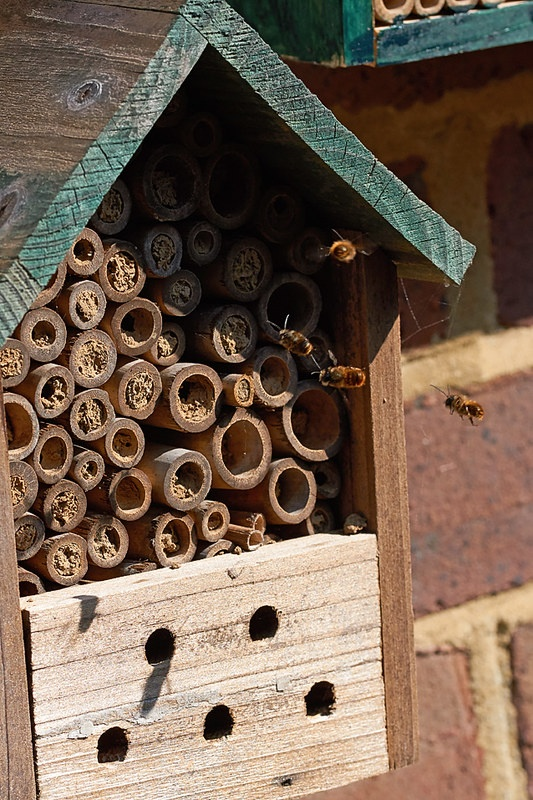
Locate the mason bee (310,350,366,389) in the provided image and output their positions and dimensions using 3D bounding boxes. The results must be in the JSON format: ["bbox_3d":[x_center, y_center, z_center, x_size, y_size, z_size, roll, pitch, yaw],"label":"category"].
[{"bbox_3d":[0.136,-0.053,2.256,0.076,0.073,0.032,5,40,44],"label":"mason bee"}]

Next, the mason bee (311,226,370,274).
[{"bbox_3d":[0.133,-0.274,2.252,0.092,0.073,0.042,5,-17,9],"label":"mason bee"}]

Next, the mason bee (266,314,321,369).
[{"bbox_3d":[0.058,-0.100,2.242,0.128,0.046,0.053,43,9,24],"label":"mason bee"}]
